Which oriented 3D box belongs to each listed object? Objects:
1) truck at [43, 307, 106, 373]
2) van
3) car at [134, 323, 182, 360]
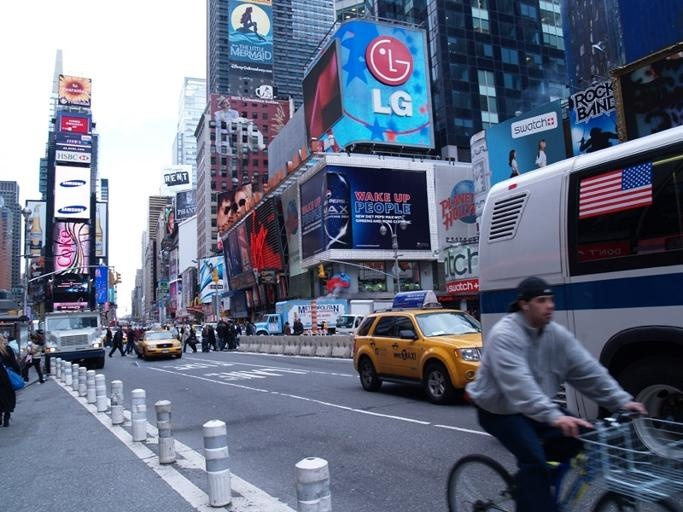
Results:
[{"bbox_3d":[-13.214,4.082,27.236,2.032,2.495,5.327,0,-3,-20],"label":"truck"},{"bbox_3d":[1.848,2.171,12.790,2.353,2.597,2.378,-2,-1,-22],"label":"van"},{"bbox_3d":[-10.647,5.210,32.605,2.285,2.340,2.034,0,-2,-26],"label":"car"}]
